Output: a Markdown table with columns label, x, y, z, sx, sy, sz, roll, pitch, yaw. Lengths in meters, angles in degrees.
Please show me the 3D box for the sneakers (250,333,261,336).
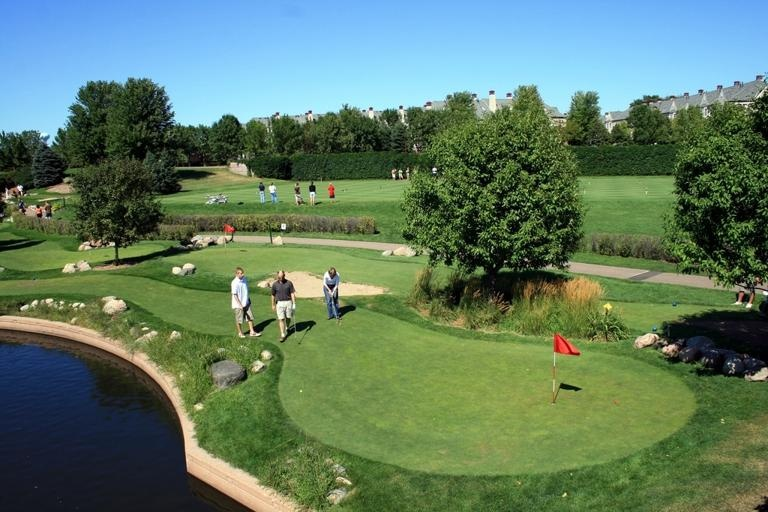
| label | x | y | z | sx | sy | sz | roll | pitch | yaw |
| --- | --- | --- | --- | --- | --- | --- | --- | --- | --- |
| sneakers | -5.476 | 3.309 | 26.986 | 0.451 | 0.185 | 0.166 | 1 | 13 | 11 |
